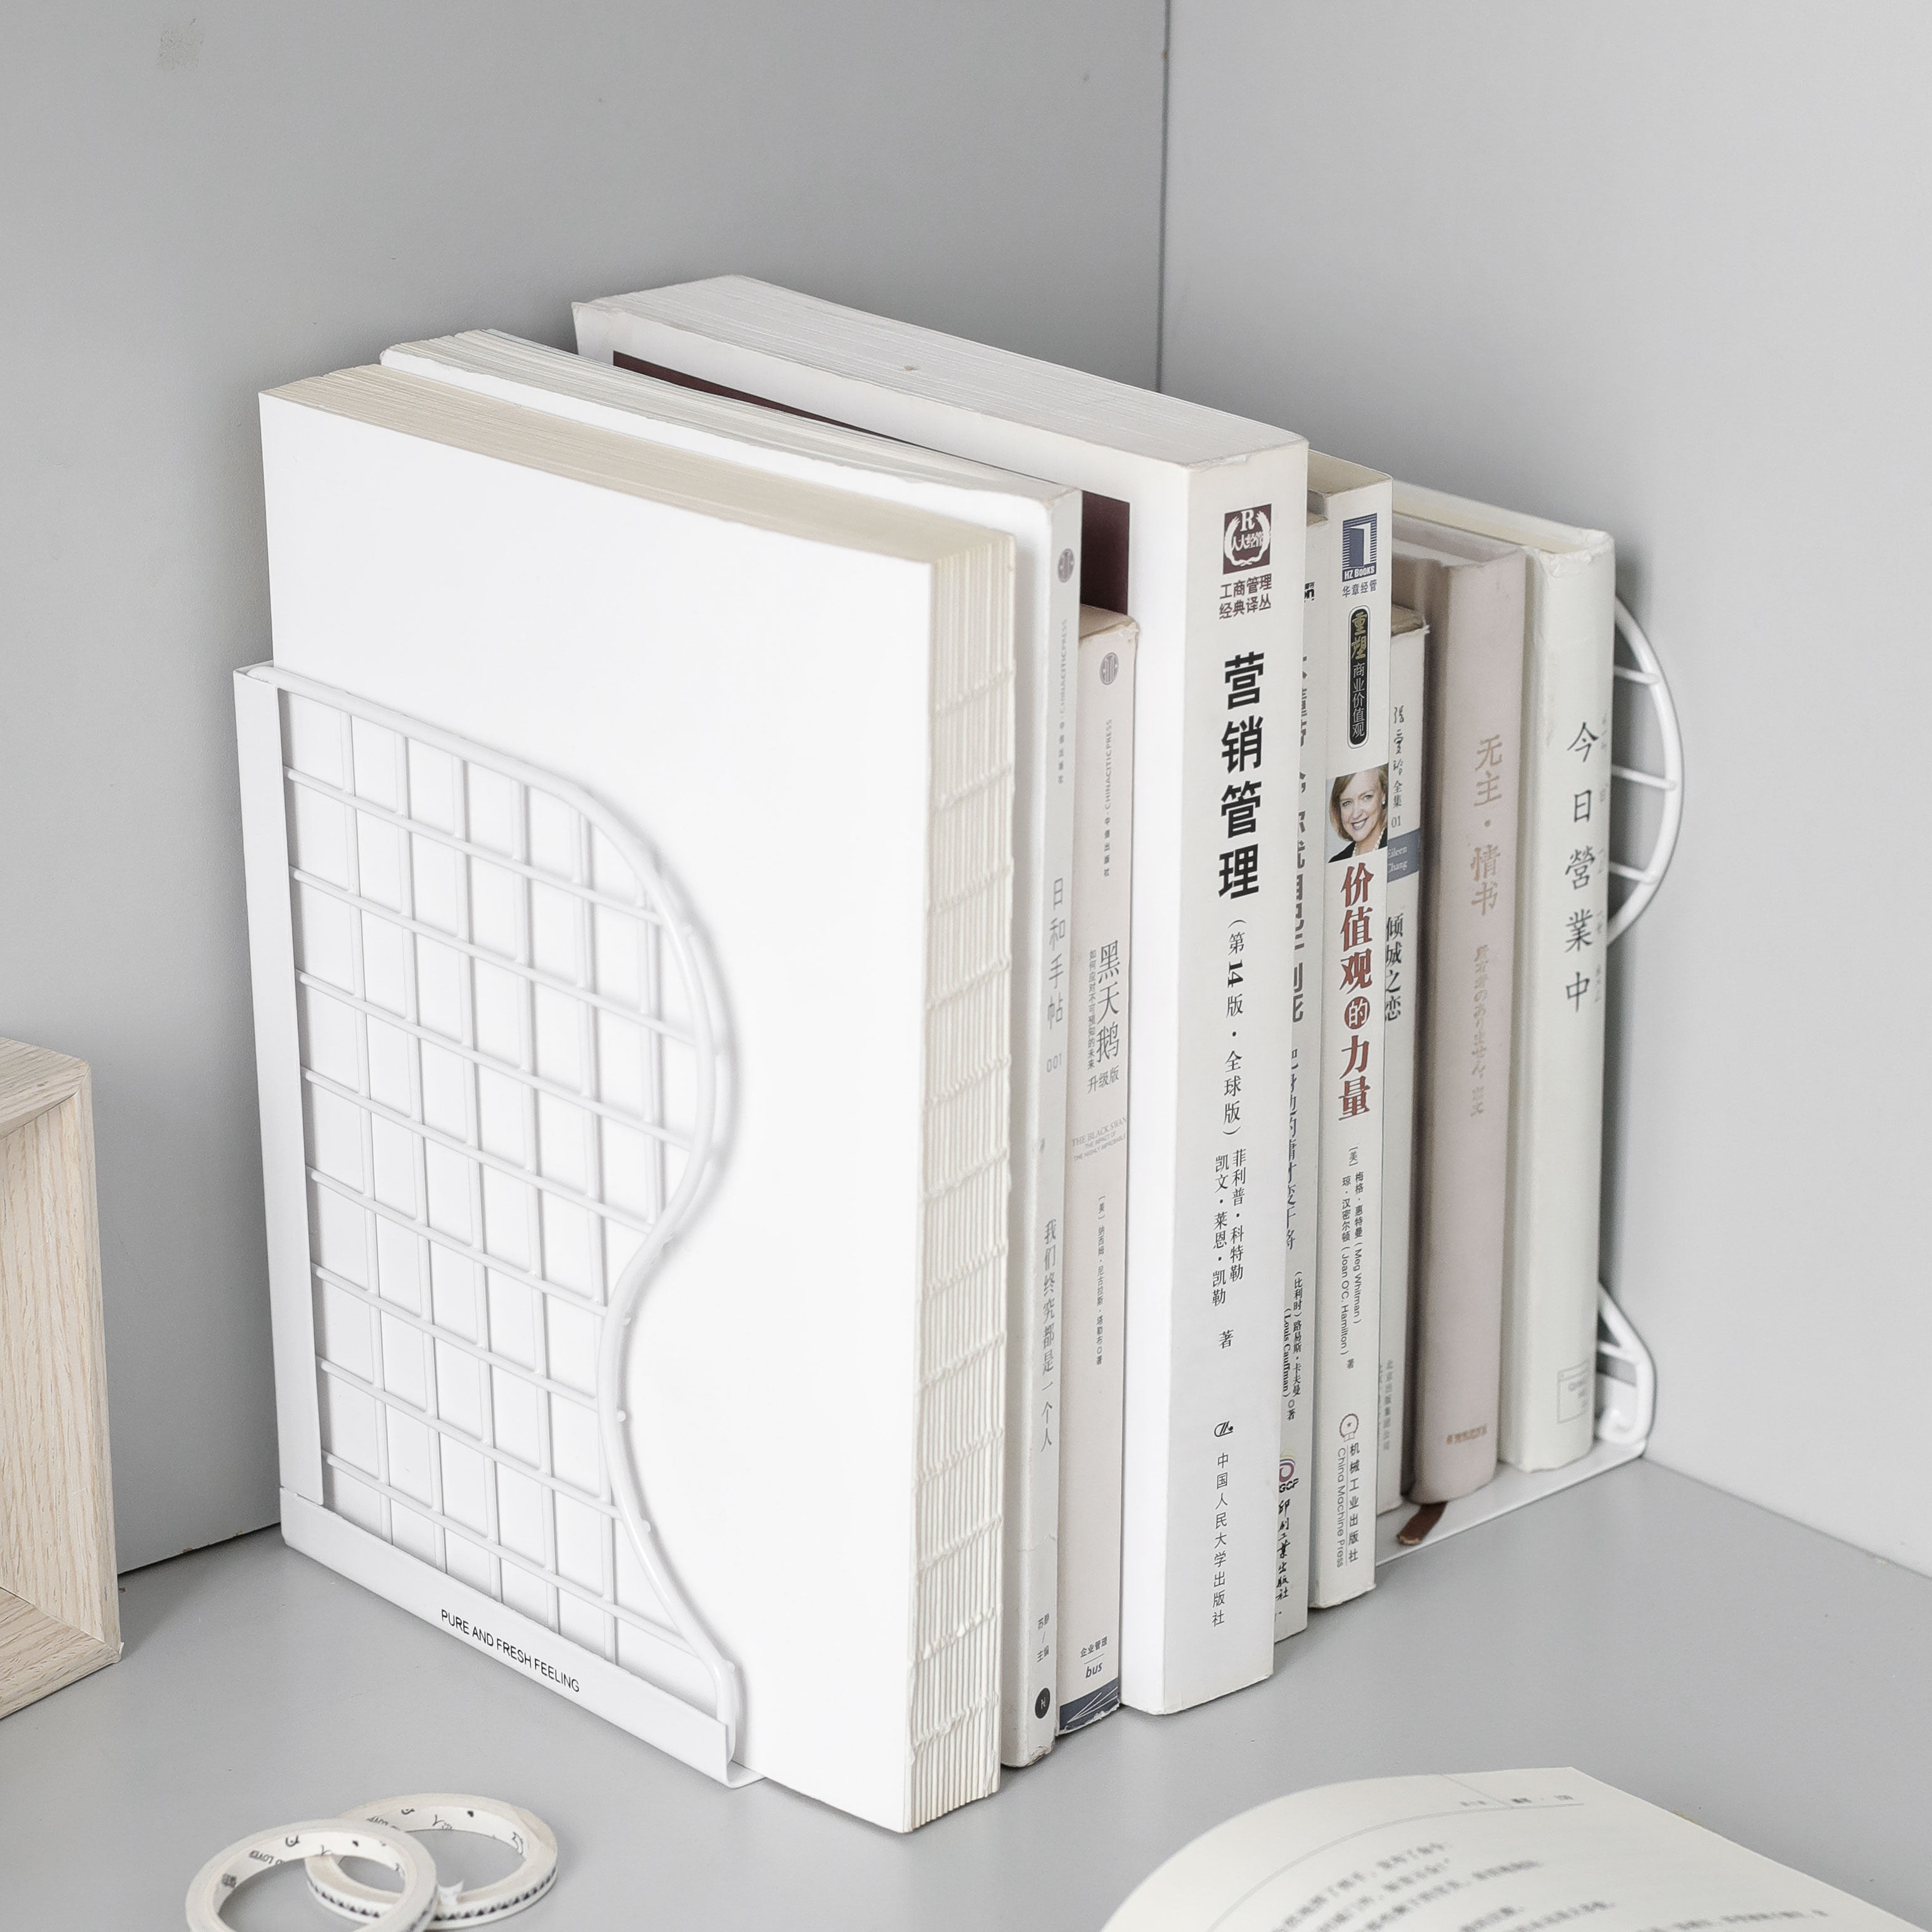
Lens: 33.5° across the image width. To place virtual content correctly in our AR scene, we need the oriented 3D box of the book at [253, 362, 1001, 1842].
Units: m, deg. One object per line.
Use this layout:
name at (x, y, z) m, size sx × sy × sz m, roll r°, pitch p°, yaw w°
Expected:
book at (-0.084, 0.030, 0.850) m, size 0.342 × 0.072 × 0.406 m, roll 21°, pitch -62°, yaw 44°

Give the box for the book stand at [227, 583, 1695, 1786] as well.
book stand at (-0.062, 0.054, 1.063) m, size 0.444 × 0.329 × 0.382 m, roll 17°, pitch -69°, yaw 44°
